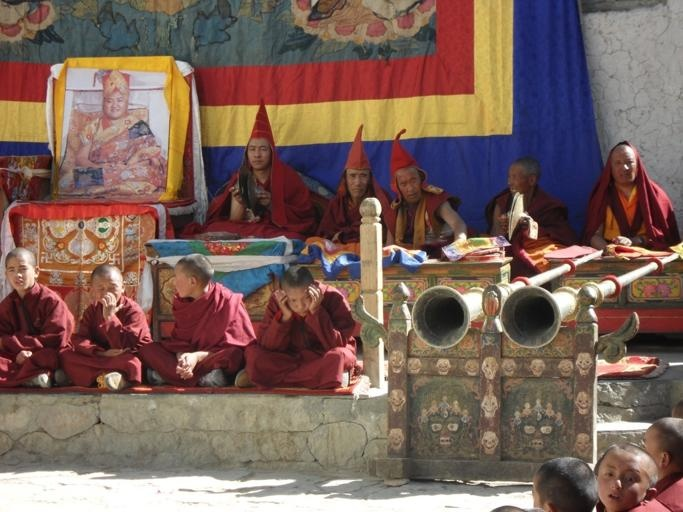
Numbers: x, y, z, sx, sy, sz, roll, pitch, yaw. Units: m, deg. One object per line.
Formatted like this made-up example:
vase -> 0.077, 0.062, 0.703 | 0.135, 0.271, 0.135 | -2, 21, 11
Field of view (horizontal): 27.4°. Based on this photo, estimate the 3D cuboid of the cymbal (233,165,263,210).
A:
cymbal -> -0.859, -0.622, 12.605 | 0.163, 0.398, 0.145 | 0, -2, -5

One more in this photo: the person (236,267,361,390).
person -> -0.324, 0.528, 10.662 | 0.909, 0.883, 1.108 | -3, 7, -2

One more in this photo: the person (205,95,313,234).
person -> -0.735, -0.799, 12.724 | 1.028, 1.294, 0.779 | 0, -2, -2

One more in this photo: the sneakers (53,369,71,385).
sneakers -> -2.134, 0.934, 10.739 | 0.111, 0.086, 0.125 | 5, -35, 28

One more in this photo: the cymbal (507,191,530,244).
cymbal -> 1.523, -0.325, 12.016 | 0.211, 0.076, 0.671 | -34, -19, -2

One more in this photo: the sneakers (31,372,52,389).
sneakers -> -2.279, 0.950, 10.621 | 0.118, 0.086, 0.119 | 0, -6, -1

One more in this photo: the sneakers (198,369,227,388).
sneakers -> -0.969, 0.935, 10.633 | 0.155, 0.094, 0.154 | -2, -8, 12

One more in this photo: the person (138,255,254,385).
person -> -1.110, 0.507, 10.908 | 0.974, 1.003, 0.753 | 3, 10, 29

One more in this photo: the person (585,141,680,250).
person -> 2.550, -0.541, 12.274 | 0.822, 0.968, 0.374 | 0, -2, 13

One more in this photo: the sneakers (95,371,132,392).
sneakers -> -1.737, 0.944, 10.568 | 0.246, 0.155, 0.135 | 0, -2, -10

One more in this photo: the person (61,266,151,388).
person -> -1.817, 0.545, 10.800 | 0.720, 0.939, 0.974 | 0, 9, -10
